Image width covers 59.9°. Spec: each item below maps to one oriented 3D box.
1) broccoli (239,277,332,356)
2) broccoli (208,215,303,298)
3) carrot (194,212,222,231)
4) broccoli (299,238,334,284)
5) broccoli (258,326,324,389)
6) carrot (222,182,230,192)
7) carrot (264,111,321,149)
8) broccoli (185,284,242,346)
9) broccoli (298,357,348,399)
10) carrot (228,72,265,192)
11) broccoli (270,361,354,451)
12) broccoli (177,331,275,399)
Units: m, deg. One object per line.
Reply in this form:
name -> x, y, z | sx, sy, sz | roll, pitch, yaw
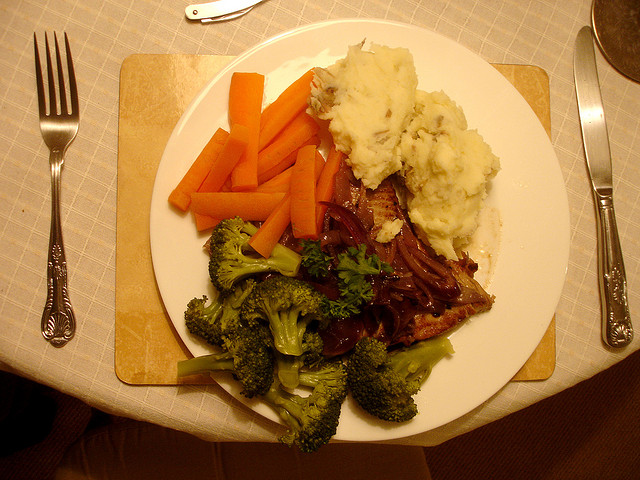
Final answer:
broccoli -> -0.169, 0.355, 2.790 | 0.370, 0.370, 0.403 | -3, -14, 14
broccoli -> -0.332, 0.073, 2.901 | 0.407, 0.409, 0.187 | 3, 2, 1
carrot -> -0.603, -0.098, 2.921 | 0.088, 0.094, 0.022 | 8, 6, -9
broccoli -> -0.019, 0.100, 2.799 | 0.193, 0.208, 0.071 | -18, -9, -30
broccoli -> -0.134, 0.583, 2.947 | 0.280, 0.308, 0.300 | 9, -14, 10
carrot -> -0.505, -0.284, 2.971 | 0.047, 0.052, 0.013 | 14, -2, -5
carrot -> -0.085, -0.617, 3.020 | 0.054, 0.200, 0.186 | 40, 3, -46
broccoli -> -0.548, 0.371, 2.931 | 0.244, 0.334, 0.146 | 38, -12, -4
broccoli -> 0.018, 0.690, 2.822 | 0.221, 0.191, 0.102 | -7, -10, -5
carrot -> -0.403, -0.716, 3.066 | 0.182, 0.082, 0.617 | 2, -23, -11
broccoli -> -0.065, 0.825, 2.747 | 0.406, 0.452, 0.175 | 5, -11, 2
broccoli -> -0.465, 0.631, 2.826 | 0.380, 0.320, 0.200 | 0, 32, 15
